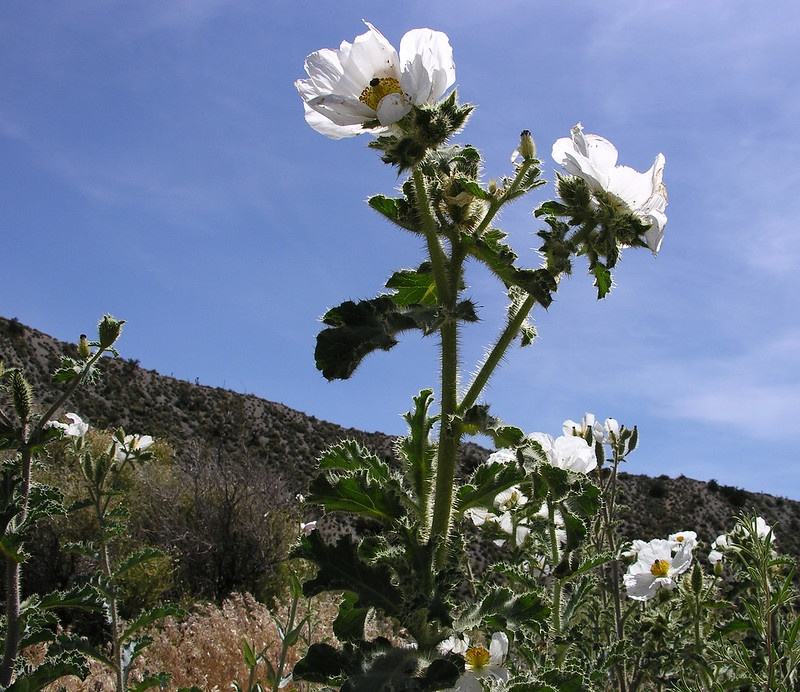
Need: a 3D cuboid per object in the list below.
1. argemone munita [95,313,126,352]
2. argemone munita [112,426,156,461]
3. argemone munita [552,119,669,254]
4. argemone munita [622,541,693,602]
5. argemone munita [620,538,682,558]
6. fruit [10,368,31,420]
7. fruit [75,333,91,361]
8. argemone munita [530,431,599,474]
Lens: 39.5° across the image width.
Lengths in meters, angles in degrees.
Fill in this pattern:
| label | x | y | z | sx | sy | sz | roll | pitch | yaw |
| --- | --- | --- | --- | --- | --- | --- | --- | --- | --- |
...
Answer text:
| label | x | y | z | sx | sy | sz | roll | pitch | yaw |
| --- | --- | --- | --- | --- | --- | --- | --- | --- | --- |
| argemone munita | -1.446 | -0.062 | 5.537 | 0.134 | 0.097 | 0.153 | -7 | -27 | -13 |
| argemone munita | -1.936 | 0.733 | 8.064 | 0.256 | 0.157 | 0.248 | -27 | -7 | 8 |
| argemone munita | 1.012 | -0.682 | 5.399 | 0.672 | 0.317 | 0.663 | 23 | 5 | -46 |
| argemone munita | 1.728 | 1.461 | 7.174 | 0.178 | 0.457 | 0.384 | 35 | -11 | -22 |
| argemone munita | 1.636 | 1.311 | 7.208 | 0.205 | 0.100 | 0.211 | -8 | -12 | -9 |
| fruit | -2.058 | 0.258 | 6.060 | 0.083 | 0.319 | 0.094 | -4 | -16 | -12 |
| fruit | -1.769 | 0.025 | 6.254 | 0.058 | 0.248 | 0.138 | 2 | -5 | -4 |
| argemone munita | 0.944 | 0.596 | 6.258 | 0.200 | 0.218 | 0.526 | 1 | -16 | 40 |
